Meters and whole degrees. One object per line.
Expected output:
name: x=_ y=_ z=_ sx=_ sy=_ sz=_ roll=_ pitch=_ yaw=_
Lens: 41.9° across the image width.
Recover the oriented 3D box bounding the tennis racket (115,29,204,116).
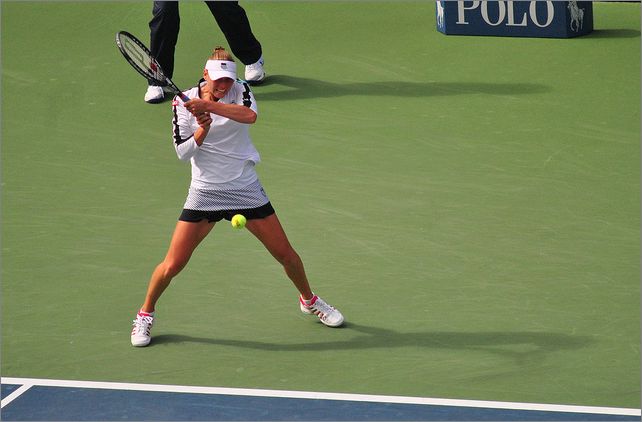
tennis racket: x=-1.451 y=-1.335 z=8.269 sx=0.106 sy=1.270 sz=0.378 roll=6 pitch=63 yaw=57

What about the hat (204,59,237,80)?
hat: x=-0.952 y=-1.334 z=7.985 sx=0.287 sy=0.187 sz=0.164 roll=-2 pitch=11 yaw=-10

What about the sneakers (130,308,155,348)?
sneakers: x=-1.756 y=1.161 z=8.317 sx=0.198 sy=0.159 sz=0.432 roll=8 pitch=20 yaw=-12

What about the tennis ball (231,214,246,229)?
tennis ball: x=-0.801 y=0.116 z=8.124 sx=0.165 sy=0.131 sz=0.124 roll=13 pitch=54 yaw=-3
